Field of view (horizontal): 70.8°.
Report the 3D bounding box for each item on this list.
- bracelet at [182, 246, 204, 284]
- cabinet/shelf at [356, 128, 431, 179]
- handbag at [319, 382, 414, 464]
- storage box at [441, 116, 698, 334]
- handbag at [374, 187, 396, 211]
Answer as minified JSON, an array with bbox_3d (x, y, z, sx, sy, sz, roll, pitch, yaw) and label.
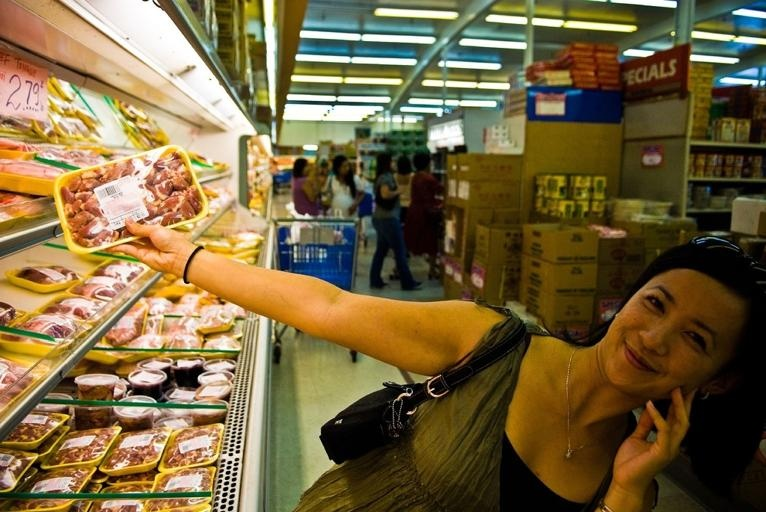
[{"bbox_3d":[-0.582,0.029,1.636,0.064,0.110,0.093,-4,7,-20],"label":"bracelet"},{"bbox_3d":[0.287,-2.796,15.195,1.406,1.788,2.578,4,7,-10],"label":"cabinet/shelf"},{"bbox_3d":[-0.074,0.547,1.780,0.325,0.116,0.239,-33,21,6],"label":"handbag"},{"bbox_3d":[1.410,-0.280,3.975,1.861,1.765,0.835,0,14,1],"label":"storage box"},{"bbox_3d":[0.023,-0.678,6.779,0.315,0.301,0.195,5,3,22],"label":"handbag"}]
